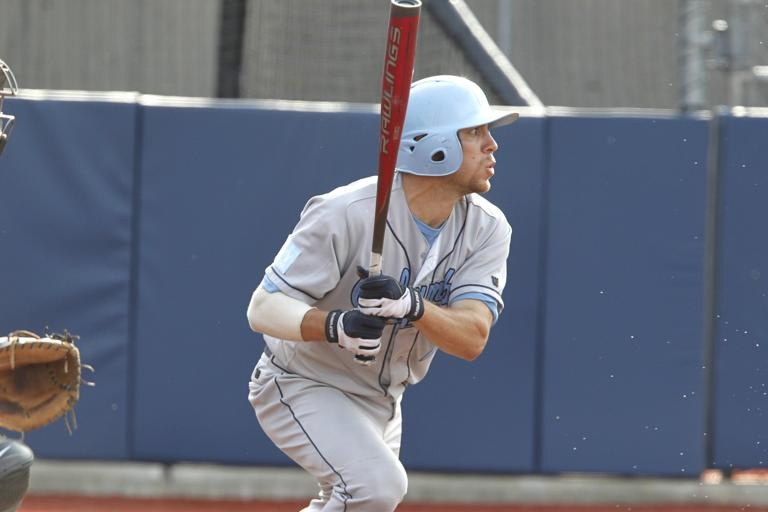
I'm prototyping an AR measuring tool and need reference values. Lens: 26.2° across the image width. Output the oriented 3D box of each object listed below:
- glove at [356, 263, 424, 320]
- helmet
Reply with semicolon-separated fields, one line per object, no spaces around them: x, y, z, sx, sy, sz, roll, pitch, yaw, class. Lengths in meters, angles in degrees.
0.026;0.185;7.803;0.327;0.242;0.169;3;12;0;glove
0.313;-0.644;7.976;0.526;0.398;0.386;0;4;10;helmet
